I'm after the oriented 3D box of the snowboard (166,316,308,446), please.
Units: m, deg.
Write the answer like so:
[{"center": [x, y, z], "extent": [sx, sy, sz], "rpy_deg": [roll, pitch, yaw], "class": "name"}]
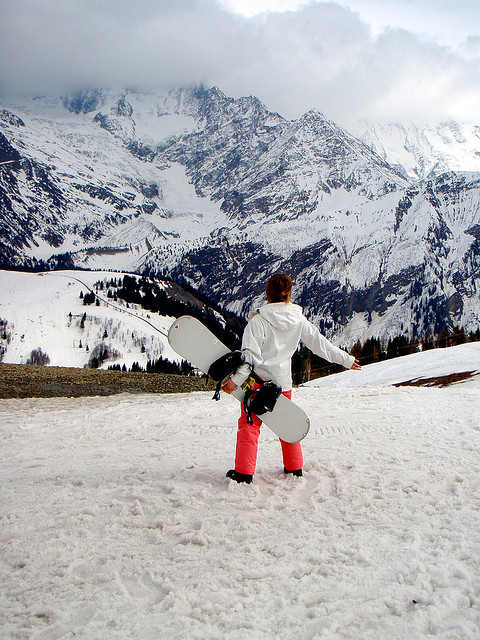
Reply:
[{"center": [0.086, 0.514, 5.912], "extent": [2.325, 0.555, 0.342], "rpy_deg": [28, -16, 46], "class": "snowboard"}]
